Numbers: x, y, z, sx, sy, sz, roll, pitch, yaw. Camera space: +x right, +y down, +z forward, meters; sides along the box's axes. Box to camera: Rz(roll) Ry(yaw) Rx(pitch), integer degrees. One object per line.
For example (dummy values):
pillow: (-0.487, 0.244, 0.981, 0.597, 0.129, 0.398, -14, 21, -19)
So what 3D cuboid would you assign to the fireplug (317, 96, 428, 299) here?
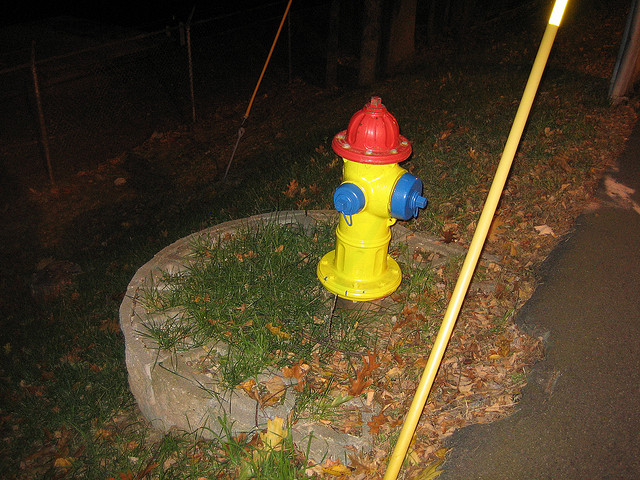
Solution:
fireplug: (0.428, -0.236, 4.542, 0.861, 1.793, 0.614, 3, 34, 3)
